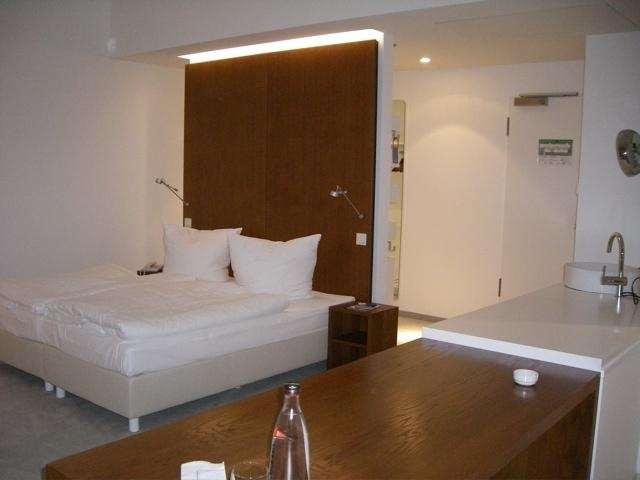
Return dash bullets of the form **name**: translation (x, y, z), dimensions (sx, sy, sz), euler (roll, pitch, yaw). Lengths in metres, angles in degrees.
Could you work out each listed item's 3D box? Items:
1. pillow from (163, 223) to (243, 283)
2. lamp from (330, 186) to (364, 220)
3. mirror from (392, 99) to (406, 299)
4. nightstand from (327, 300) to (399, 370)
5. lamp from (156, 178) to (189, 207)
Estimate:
- **pillow**: translation (-1.124, 0.148, 4.833), dimensions (0.534, 0.368, 0.213), euler (1, 5, 16)
- **lamp**: translation (0.259, -0.347, 4.708), dimensions (0.089, 0.128, 0.369), euler (44, 2, -45)
- **mirror**: translation (0.957, -0.478, 6.294), dimensions (0.213, 2.470, 0.207), euler (0, 8, 20)
- **nightstand**: translation (0.315, 0.746, 4.328), dimensions (0.533, 0.825, 0.531), euler (1, 1, 45)
- **lamp**: translation (-1.882, -0.601, 6.342), dimensions (0.332, 0.349, 1.015), euler (-4, 7, -18)
